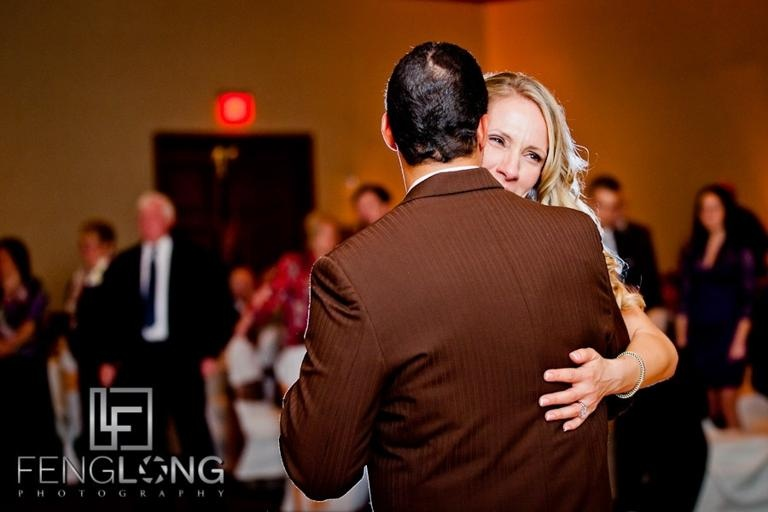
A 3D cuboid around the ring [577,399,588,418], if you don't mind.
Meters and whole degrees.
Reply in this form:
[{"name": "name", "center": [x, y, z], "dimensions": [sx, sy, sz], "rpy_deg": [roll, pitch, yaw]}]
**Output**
[{"name": "ring", "center": [0.681, 0.520, 2.630], "dimensions": [0.021, 0.052, 0.039], "rpy_deg": [-15, 8, 14]}]
